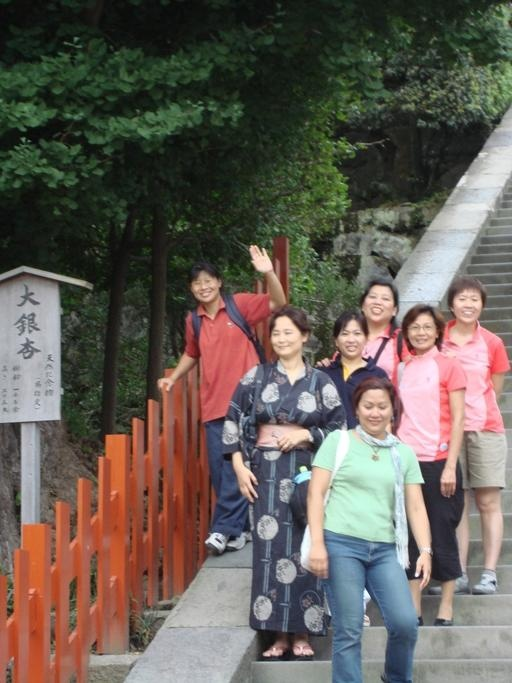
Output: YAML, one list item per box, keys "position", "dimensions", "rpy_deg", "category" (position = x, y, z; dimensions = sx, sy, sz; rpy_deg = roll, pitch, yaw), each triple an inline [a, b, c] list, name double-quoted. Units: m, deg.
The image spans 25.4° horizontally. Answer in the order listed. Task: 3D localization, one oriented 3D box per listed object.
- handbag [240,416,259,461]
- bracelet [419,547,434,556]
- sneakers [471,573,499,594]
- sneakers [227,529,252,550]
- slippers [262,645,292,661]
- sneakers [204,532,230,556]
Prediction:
- position: [-0.037, 0.450, 5.119]
  dimensions: [0.065, 0.170, 0.125]
  rpy_deg: [9, -1, -22]
  category: "handbag"
- position: [0.673, 0.856, 4.586]
  dimensions: [0.064, 0.039, 0.071]
  rpy_deg: [7, -8, -44]
  category: "bracelet"
- position: [1.069, 1.155, 5.352]
  dimensions: [0.111, 0.095, 0.156]
  rpy_deg: [-1, 1, 9]
  category: "sneakers"
- position: [-0.094, 1.071, 6.027]
  dimensions: [0.068, 0.080, 0.202]
  rpy_deg: [2, 4, 27]
  category: "sneakers"
- position: [0.089, 1.377, 4.944]
  dimensions: [0.158, 0.064, 0.046]
  rpy_deg: [7, -9, -6]
  category: "slippers"
- position: [-0.204, 1.063, 5.853]
  dimensions: [0.062, 0.078, 0.169]
  rpy_deg: [9, -7, 18]
  category: "sneakers"
